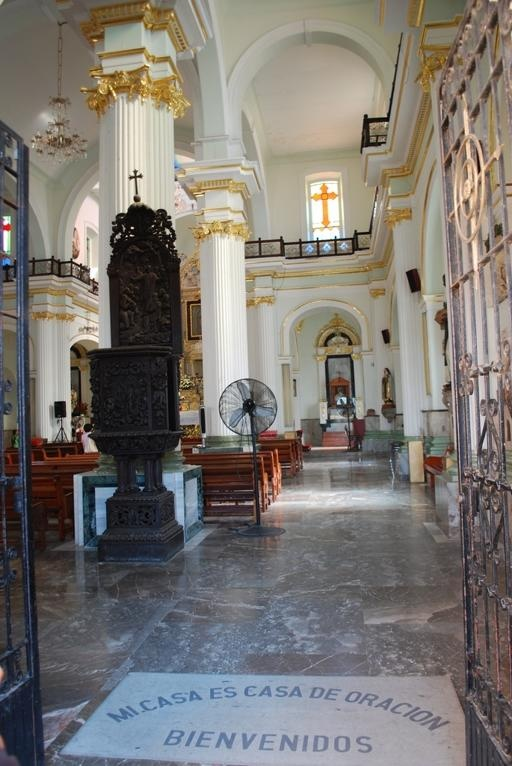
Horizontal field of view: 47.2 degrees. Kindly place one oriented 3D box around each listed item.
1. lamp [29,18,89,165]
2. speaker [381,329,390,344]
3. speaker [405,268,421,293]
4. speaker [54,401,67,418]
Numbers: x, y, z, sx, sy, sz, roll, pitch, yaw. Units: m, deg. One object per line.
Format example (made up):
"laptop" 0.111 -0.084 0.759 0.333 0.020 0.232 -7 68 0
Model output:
"lamp" -4.761 -7.113 14.194 0.919 2.358 0.971 17 25 19
"speaker" 3.781 -1.364 17.035 0.196 0.481 0.585 -3 -4 4
"speaker" 2.788 -1.796 10.315 0.325 0.382 0.221 -6 -6 42
"speaker" -6.110 0.830 18.214 0.387 0.495 0.250 -1 -5 -14
